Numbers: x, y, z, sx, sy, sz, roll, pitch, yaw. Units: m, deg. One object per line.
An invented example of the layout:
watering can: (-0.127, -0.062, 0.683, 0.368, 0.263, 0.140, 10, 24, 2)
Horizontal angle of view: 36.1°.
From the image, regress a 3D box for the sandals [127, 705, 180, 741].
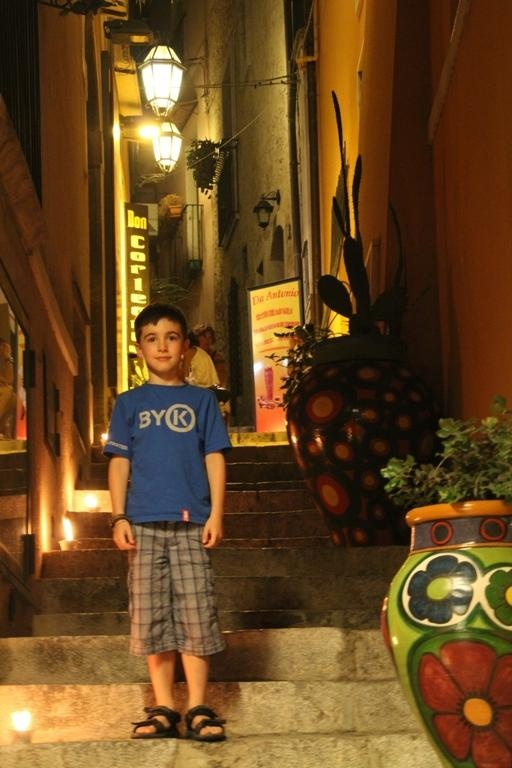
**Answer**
sandals: (-0.250, 0.830, 1.920, 0.065, 0.068, 0.168, -2, -22, 6)

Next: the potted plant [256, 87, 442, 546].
potted plant: (0.411, -0.320, 3.439, 0.631, 1.949, 0.988, -4, 12, 2)

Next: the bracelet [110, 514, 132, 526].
bracelet: (-0.378, 0.366, 2.163, 0.032, 0.024, 0.043, -8, -26, -14)

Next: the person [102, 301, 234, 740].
person: (-0.237, 0.304, 2.116, 0.353, 0.974, 0.711, -5, 12, -3)

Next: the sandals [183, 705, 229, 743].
sandals: (-0.123, 0.815, 1.883, 0.073, 0.056, 0.211, 2, -12, -9)

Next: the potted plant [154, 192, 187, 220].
potted plant: (-2.307, -4.775, 21.090, 0.753, 0.837, 0.696, -4, -31, -7)
